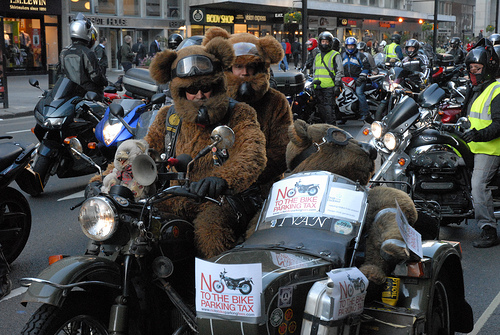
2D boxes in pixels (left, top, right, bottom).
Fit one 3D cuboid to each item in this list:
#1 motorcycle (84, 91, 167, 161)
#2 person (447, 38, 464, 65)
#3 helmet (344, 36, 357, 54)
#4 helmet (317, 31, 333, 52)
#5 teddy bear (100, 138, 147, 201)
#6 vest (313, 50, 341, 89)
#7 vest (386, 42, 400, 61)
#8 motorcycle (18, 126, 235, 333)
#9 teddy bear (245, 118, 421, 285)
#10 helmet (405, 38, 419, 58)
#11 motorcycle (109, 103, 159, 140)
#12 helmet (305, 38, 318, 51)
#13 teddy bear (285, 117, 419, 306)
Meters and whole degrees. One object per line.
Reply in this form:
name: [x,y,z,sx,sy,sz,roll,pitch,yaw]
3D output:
motorcycle: [-2.130,-0.571,7.028,0.977,1.078,1.590,13,16,9]
person: [9.355,-5.183,19.918,0.587,1.173,0.685,6,14,23]
helmet: [3.349,-4.022,14.669,0.346,0.546,0.654,2,13,9]
helmet: [2.235,-3.703,13.104,0.406,0.583,0.548,2,13,8]
teddy bear: [-0.971,-0.009,3.470,0.265,0.449,0.278,5,2,18]
vest: [2.242,-2.876,13.099,0.642,1.108,0.600,4,13,16]
vest: [5.773,-4.710,17.900,0.454,0.586,0.780,2,13,10]
motorcycle: [-0.886,0.533,3.669,1.029,1.347,1.932,5,1,39]
teddy bear: [0.799,0.164,3.334,0.698,1.110,1.611,5,15,24]
helmet: [5.183,-3.778,14.079,0.383,0.581,0.553,0,5,29]
motorcycle: [-1.499,-0.571,5.641,0.399,0.409,0.673,24,28,19]
helmet: [2.167,-4.235,15.236,0.545,0.504,0.424,3,7,6]
teddy bear: [0.807,0.273,3.391,0.632,1.178,1.103,-7,15,-29]
